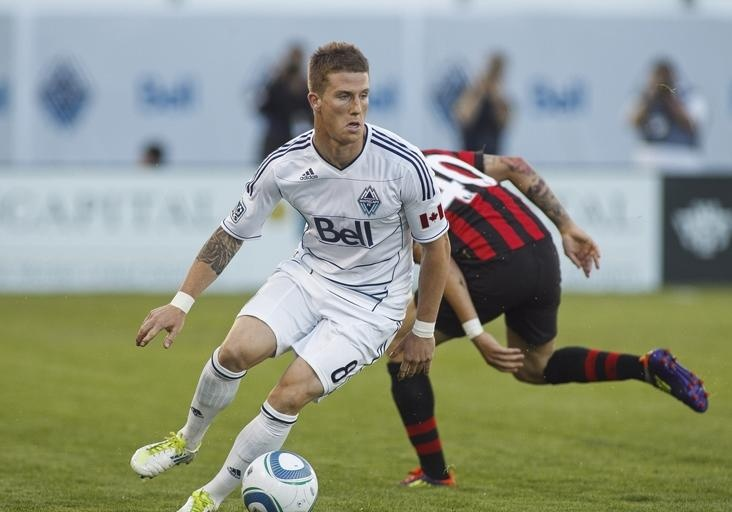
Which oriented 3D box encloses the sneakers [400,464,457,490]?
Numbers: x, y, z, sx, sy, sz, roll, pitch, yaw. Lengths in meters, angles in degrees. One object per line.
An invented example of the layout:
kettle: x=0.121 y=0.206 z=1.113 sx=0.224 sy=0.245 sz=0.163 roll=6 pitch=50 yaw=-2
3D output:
sneakers: x=0.565 y=2.048 z=10.117 sx=0.511 sy=0.212 sz=0.199 roll=2 pitch=-15 yaw=6

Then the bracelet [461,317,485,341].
bracelet: x=0.994 y=0.678 z=10.346 sx=0.179 sy=0.202 sz=0.196 roll=-29 pitch=-7 yaw=3

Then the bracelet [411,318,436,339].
bracelet: x=0.508 y=0.646 z=9.771 sx=0.154 sy=0.129 sz=0.162 roll=5 pitch=1 yaw=-10

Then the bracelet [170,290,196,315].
bracelet: x=-1.661 y=0.412 z=9.818 sx=0.197 sy=0.197 sz=0.152 roll=43 pitch=48 yaw=10
